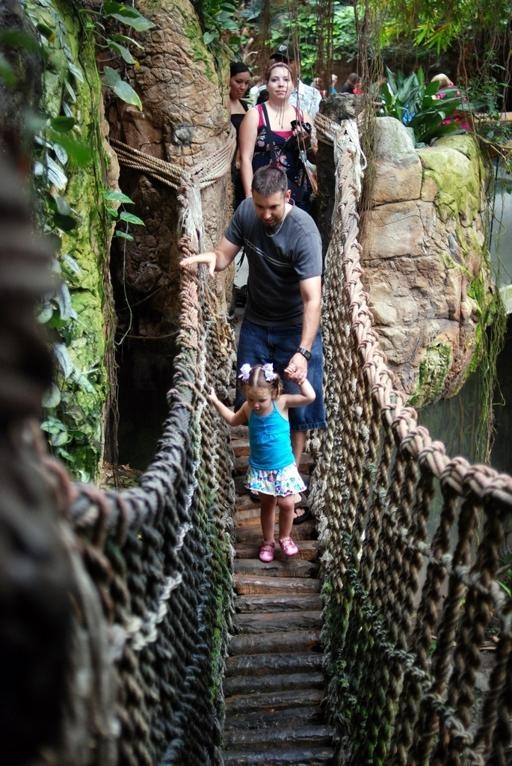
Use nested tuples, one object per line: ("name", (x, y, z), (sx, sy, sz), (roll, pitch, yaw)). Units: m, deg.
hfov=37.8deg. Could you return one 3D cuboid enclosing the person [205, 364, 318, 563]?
("person", (0.064, 0.341, 2.986), (0.283, 0.901, 0.282), (4, 17, 3))
